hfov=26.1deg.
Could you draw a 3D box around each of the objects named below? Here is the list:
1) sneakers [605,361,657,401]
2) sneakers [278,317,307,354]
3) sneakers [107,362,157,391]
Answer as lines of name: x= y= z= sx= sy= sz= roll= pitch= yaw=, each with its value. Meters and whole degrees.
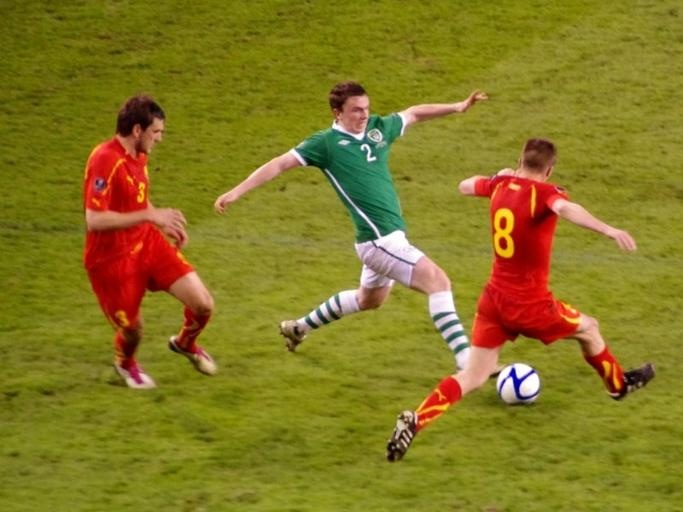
sneakers: x=2.415 y=1.017 z=12.153 sx=0.408 sy=0.218 sz=0.141 roll=-36 pitch=102 yaw=1
sneakers: x=-0.439 y=0.690 z=12.832 sx=0.226 sy=0.278 sz=0.123 roll=30 pitch=49 yaw=19
sneakers: x=-1.720 y=1.000 z=12.320 sx=0.426 sy=0.146 sz=0.140 roll=15 pitch=30 yaw=15
